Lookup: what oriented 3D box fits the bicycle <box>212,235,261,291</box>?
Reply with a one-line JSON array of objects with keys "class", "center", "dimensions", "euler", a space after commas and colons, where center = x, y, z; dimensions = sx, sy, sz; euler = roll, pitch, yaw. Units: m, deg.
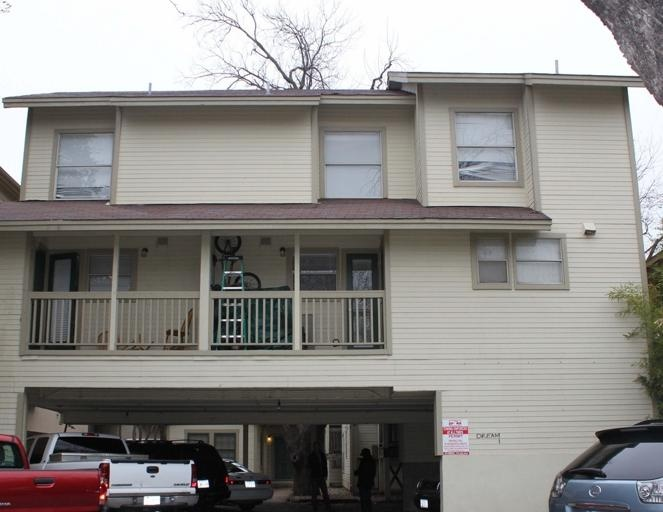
[{"class": "bicycle", "center": [-2.243, 0.158, 20.734], "dimensions": [1.028, 1.581, 0.716], "euler": [0, 6, -9]}]

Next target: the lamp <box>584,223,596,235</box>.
[{"class": "lamp", "center": [5.586, -0.576, 19.566], "dimensions": [0.243, 0.236, 0.131], "euler": [2, -20, -17]}]

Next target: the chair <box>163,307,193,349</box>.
[{"class": "chair", "center": [-3.329, 1.594, 19.867], "dimensions": [0.599, 0.983, 2.097], "euler": [2, -14, -9]}]

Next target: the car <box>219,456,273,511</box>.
[{"class": "car", "center": [-2.477, 6.608, 26.049], "dimensions": [1.254, 0.875, 2.186], "euler": [3, -10, -21]}]

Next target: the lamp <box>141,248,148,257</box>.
[{"class": "lamp", "center": [-4.354, -0.091, 21.107], "dimensions": [0.165, 0.201, 0.202], "euler": [2, -10, -13]}]
